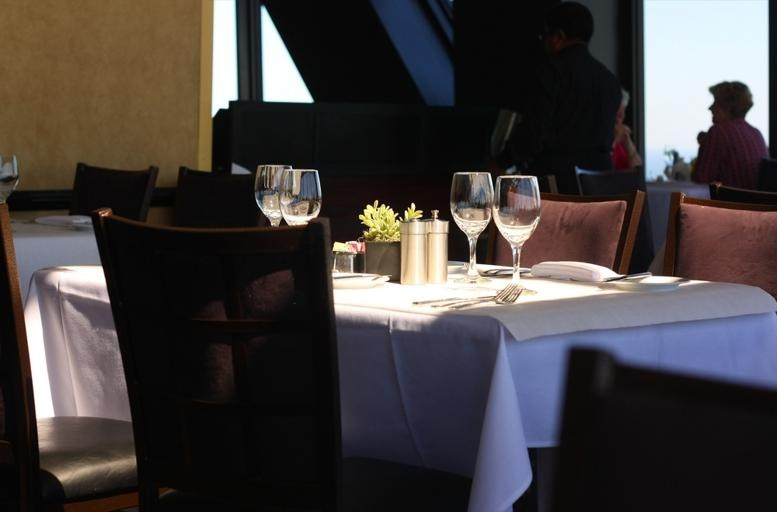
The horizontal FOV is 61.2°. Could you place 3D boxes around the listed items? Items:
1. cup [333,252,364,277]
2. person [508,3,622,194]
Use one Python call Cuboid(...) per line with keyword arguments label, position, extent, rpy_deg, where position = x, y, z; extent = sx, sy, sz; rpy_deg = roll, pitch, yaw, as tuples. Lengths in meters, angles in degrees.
Cuboid(label="cup", position=(-0.100, 0.021, 1.629), extent=(0.062, 0.055, 0.068), rpy_deg=(2, 3, 0))
Cuboid(label="person", position=(1.302, -1.113, 4.996), extent=(0.729, 1.287, 1.652), rpy_deg=(2, 8, 10))
